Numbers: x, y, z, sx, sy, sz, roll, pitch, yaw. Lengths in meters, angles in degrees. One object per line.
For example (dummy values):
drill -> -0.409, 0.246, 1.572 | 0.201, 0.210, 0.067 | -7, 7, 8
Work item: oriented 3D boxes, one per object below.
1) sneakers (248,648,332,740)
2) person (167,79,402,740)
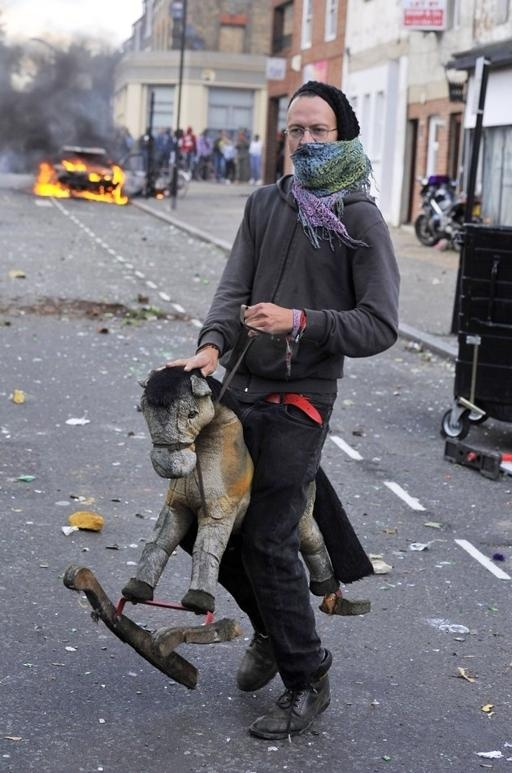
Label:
sneakers -> 0.125, 0.998, 2.800 | 0.138, 0.172, 0.366 | 8, 14, 33
person -> 0.091, 0.110, 2.611 | 0.613, 2.066, 0.602 | 5, 10, -8
